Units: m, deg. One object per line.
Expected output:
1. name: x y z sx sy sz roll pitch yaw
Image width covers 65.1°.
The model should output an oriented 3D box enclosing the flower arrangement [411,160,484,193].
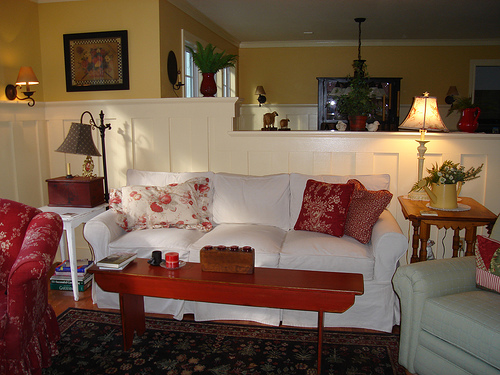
1. flower arrangement: 1.811 -0.133 3.548 0.447 0.288 0.346 2 9 4

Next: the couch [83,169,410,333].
1. couch: -0.057 0.472 3.714 2.750 1.102 1.099 1 11 12

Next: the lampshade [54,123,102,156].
1. lampshade: -1.718 -0.465 3.995 0.352 0.332 0.363 14 11 35

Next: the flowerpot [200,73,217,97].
1. flowerpot: -0.432 -1.124 4.290 0.220 0.297 0.218 5 17 10

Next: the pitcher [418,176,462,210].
1. pitcher: 1.670 0.082 3.426 0.320 0.225 0.187 -2 5 0

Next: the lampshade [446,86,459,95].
1. lampshade: 3.822 -1.819 7.403 0.172 0.116 0.159 -3 10 8

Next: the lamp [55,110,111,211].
1. lamp: -1.743 -0.240 4.121 0.633 1.088 0.551 -1 3 -31

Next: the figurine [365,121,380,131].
1. figurine: 1.329 -0.661 4.235 0.118 0.084 0.090 -14 25 11

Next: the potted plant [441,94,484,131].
1. potted plant: 2.264 -0.784 4.120 0.348 0.359 0.313 -1 8 12

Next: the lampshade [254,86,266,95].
1. lampshade: 0.197 -1.871 7.591 0.160 0.104 0.149 -1 6 36

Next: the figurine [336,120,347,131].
1. figurine: 0.979 -0.656 4.188 0.086 0.103 0.191 1 9 10

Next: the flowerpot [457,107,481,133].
1. flowerpot: 2.281 -0.700 4.055 0.182 0.250 0.251 -14 17 -10

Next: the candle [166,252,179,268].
1. candle: -0.581 0.543 2.931 0.115 0.079 0.069 1 -2 2

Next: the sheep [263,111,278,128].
1. sheep: 0.276 -0.926 5.392 0.143 0.216 0.472 1 9 6

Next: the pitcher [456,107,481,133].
1. pitcher: 2.296 -0.710 4.181 0.198 0.273 0.275 -3 7 -36

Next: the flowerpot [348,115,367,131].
1. flowerpot: 1.167 -0.694 4.241 0.165 0.121 0.163 -1 3 -41

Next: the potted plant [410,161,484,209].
1. potted plant: 1.778 -0.015 3.463 0.532 0.383 0.299 0 7 5

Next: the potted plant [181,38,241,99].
1. potted plant: -0.404 -1.292 4.586 0.797 0.740 0.780 -4 10 -23

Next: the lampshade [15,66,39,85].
1. lampshade: -2.348 -1.158 4.146 0.208 0.151 0.192 -3 9 -26

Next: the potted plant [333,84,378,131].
1. potted plant: 1.205 -0.907 4.442 0.412 0.521 0.414 -8 12 -19

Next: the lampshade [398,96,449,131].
1. lampshade: 1.628 -0.685 3.660 0.448 0.315 0.194 1 9 7

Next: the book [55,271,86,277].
1. book: -1.718 0.834 3.789 0.107 0.023 0.108 0 1 23

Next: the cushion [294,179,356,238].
1. cushion: 0.675 0.185 3.518 0.495 0.471 0.151 9 -7 46
